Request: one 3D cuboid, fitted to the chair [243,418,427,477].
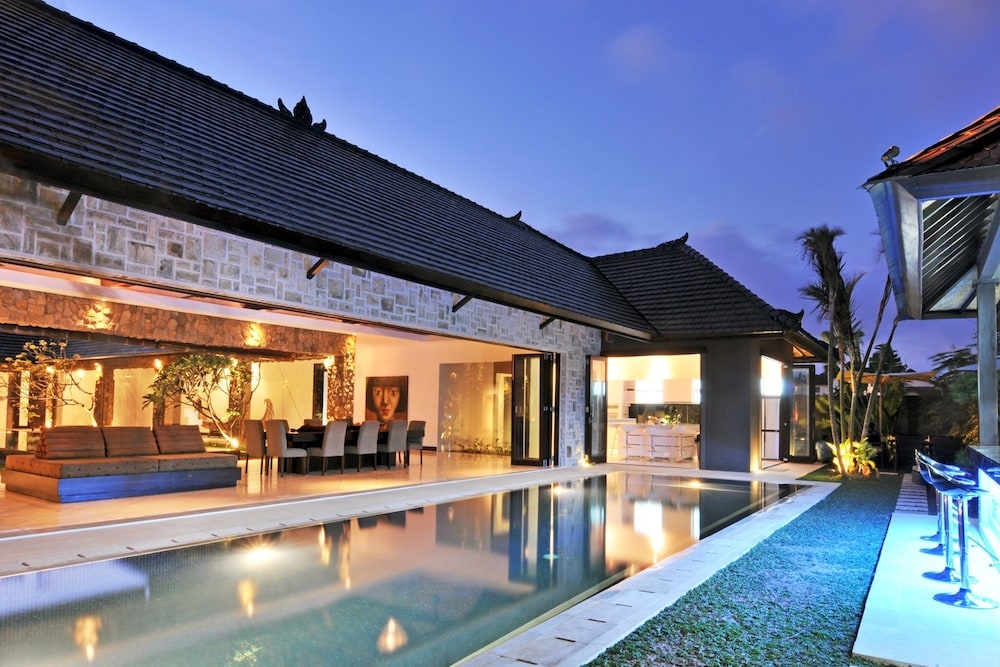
[{"bbox_3d":[-3.619,2.503,14.505,1.829,1.264,3.521,-1,-2,42],"label":"chair"}]

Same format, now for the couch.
[{"bbox_3d":[-6.413,2.163,10.975,3.162,1.163,1.686,2,-2,-35],"label":"couch"}]
